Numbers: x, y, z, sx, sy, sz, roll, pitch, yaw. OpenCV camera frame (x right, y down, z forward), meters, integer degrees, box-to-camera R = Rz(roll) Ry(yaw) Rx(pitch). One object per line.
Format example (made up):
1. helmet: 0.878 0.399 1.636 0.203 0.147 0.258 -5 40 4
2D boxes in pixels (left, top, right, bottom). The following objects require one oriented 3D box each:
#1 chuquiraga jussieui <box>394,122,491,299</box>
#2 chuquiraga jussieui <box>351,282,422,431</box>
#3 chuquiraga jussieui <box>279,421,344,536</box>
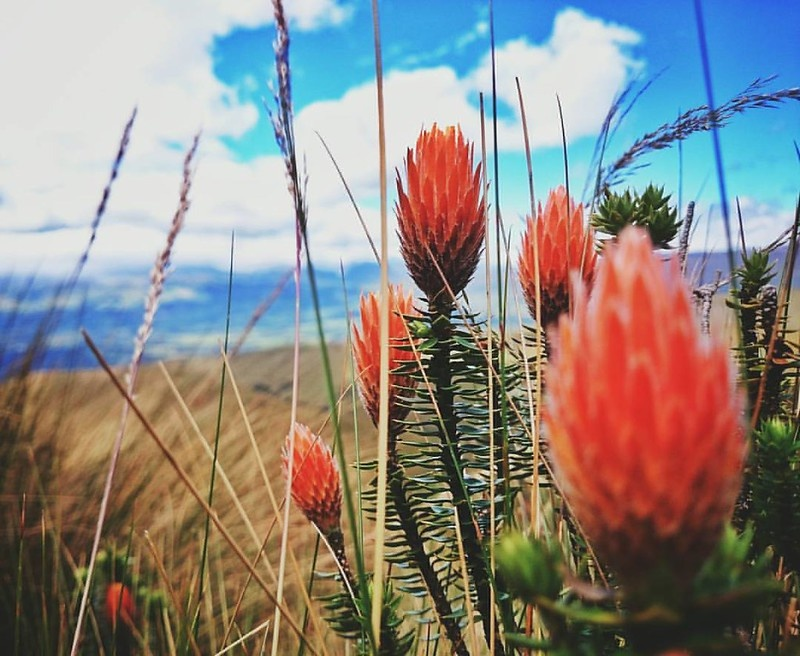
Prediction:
1. chuquiraga jussieui: 0.107 -0.304 2.247 0.234 0.461 0.185 -4 -7 0
2. chuquiraga jussieui: -0.038 0.067 2.365 0.187 0.375 0.361 -4 -8 -2
3. chuquiraga jussieui: -0.231 0.404 2.368 0.132 0.302 0.188 -4 -7 -4
